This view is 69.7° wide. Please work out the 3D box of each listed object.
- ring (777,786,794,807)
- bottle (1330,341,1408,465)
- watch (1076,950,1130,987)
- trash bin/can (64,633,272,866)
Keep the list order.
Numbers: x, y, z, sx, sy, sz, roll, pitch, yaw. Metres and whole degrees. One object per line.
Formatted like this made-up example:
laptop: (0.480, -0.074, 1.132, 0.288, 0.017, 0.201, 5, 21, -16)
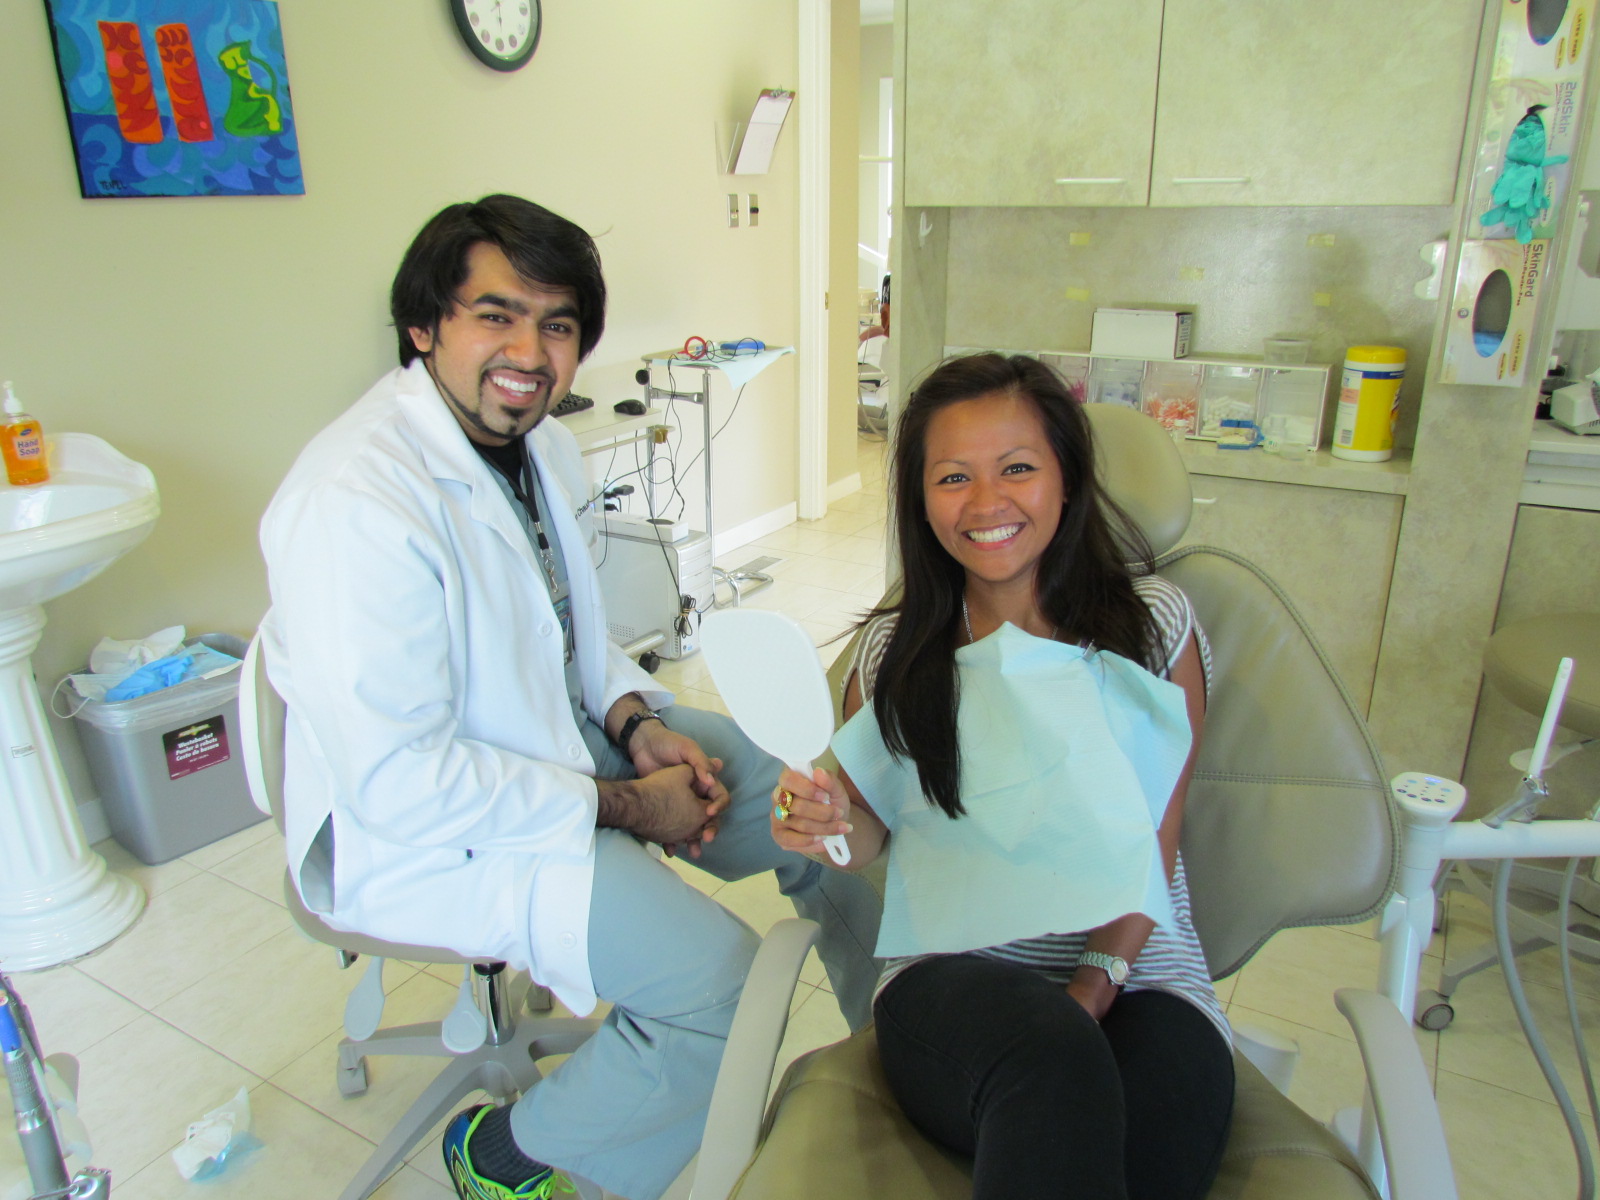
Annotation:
ring: (-0.020, 0.274, 1.592, 0.015, 0.027, 0.023, 1, -10, 9)
bottle: (1.455, -0.505, 2.932, 0.154, 0.289, 0.161, -1, 18, 0)
watch: (0.409, 0.498, 1.567, 0.059, 0.064, 0.041, 18, 65, 9)
trash bin/can: (-1.660, 0.414, 3.021, 0.307, 0.454, 0.417, 8, 17, 27)
